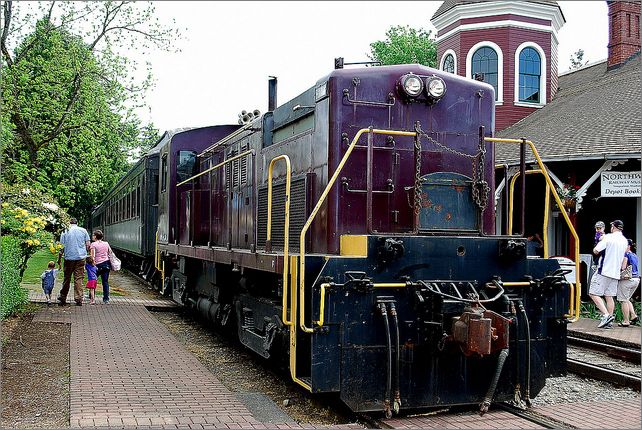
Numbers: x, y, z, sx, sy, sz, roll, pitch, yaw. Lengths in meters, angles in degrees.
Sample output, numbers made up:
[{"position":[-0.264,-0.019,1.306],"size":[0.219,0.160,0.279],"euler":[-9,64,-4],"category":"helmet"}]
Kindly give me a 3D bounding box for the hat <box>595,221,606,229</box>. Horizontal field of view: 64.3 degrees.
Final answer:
[{"position":[6.696,0.218,12.087],"size":[0.310,0.212,0.477],"euler":[-1,-3,28],"category":"hat"}]

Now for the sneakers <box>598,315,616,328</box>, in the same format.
[{"position":[6.110,2.220,10.813],"size":[0.309,0.301,0.237],"euler":[2,0,17],"category":"sneakers"}]

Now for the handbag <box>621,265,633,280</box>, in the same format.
[{"position":[6.675,1.233,11.001],"size":[0.200,0.237,0.283],"euler":[5,-10,-24],"category":"handbag"}]

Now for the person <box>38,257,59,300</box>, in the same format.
[{"position":[-7.313,1.738,13.589],"size":[0.351,0.939,1.424],"euler":[1,0,-29],"category":"person"}]

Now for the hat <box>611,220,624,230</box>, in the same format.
[{"position":[6.518,0.191,11.129],"size":[0.194,0.158,0.283],"euler":[7,16,-4],"category":"hat"}]

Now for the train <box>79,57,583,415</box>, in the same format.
[{"position":[-1.775,0.229,13.601],"size":[3.733,5.045,16.250],"euler":[1,0,-19],"category":"train"}]

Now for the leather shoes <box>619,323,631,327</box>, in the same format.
[{"position":[6.654,2.345,11.069],"size":[0.169,0.055,0.098],"euler":[4,1,15],"category":"leather shoes"}]

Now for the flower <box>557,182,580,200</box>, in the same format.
[{"position":[6.955,-0.647,14.174],"size":[0.474,0.234,0.483],"euler":[-3,-3,-23],"category":"flower"}]

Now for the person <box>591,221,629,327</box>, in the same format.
[{"position":[6.271,1.231,10.967],"size":[0.710,2.485,0.620],"euler":[2,0,17],"category":"person"}]
